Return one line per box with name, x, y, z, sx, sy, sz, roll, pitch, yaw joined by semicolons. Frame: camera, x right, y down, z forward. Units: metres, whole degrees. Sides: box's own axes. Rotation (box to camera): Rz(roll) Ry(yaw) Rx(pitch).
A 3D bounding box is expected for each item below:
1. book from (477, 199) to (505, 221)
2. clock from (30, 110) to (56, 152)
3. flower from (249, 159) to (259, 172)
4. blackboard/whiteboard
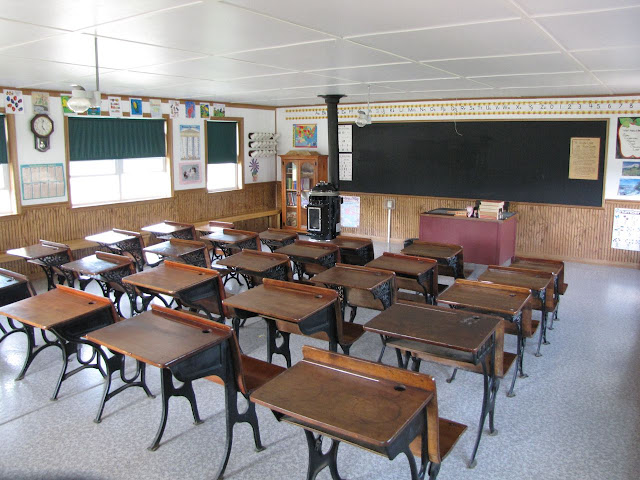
book;2.861;-0.493;7.416;0.332;0.311;0.490;6;11;29
clock;-4.251;-1.637;6.782;0.078;0.601;0.321;6;13;26
flower;-1.490;-1.677;10.104;0.060;0.258;0.277;1;2;30
blackboard/whiteboard;2.888;-1.507;8.534;4.512;1.531;0.458;5;13;22
